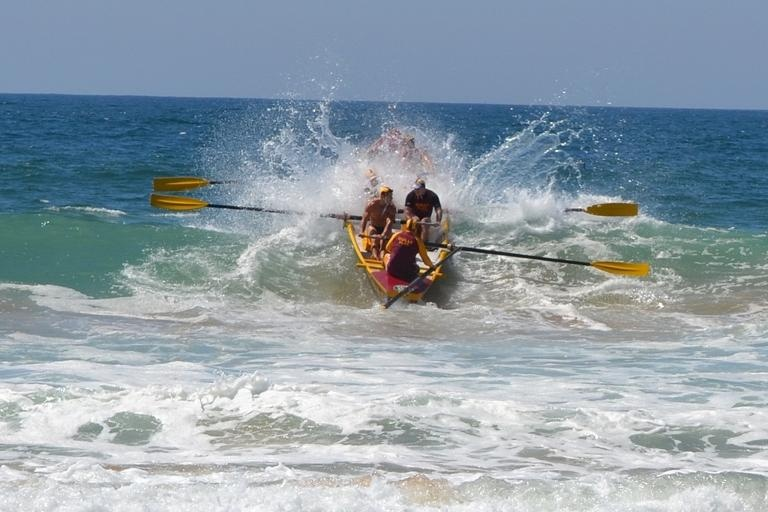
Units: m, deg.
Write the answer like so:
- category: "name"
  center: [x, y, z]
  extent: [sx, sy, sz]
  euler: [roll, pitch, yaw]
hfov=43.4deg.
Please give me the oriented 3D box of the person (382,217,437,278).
- category: "person"
  center: [0.557, -0.157, 21.699]
  extent: [1.313, 1.262, 0.938]
  euler: [16, 31, 13]

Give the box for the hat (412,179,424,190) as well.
- category: "hat"
  center: [0.797, -1.729, 23.076]
  extent: [0.277, 0.253, 0.330]
  euler: [-6, -2, 32]

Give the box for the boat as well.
- category: "boat"
  center: [0.463, -0.765, 23.594]
  extent: [1.937, 1.065, 5.792]
  euler: [1, 35, -2]

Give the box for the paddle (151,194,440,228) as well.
- category: "paddle"
  center: [-2.067, -1.149, 24.712]
  extent: [5.488, 0.514, 0.477]
  euler: [5, 38, 1]

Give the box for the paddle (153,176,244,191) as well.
- category: "paddle"
  center: [-5.034, -1.790, 24.208]
  extent: [1.332, 0.381, 1.262]
  euler: [2, 6, -9]
